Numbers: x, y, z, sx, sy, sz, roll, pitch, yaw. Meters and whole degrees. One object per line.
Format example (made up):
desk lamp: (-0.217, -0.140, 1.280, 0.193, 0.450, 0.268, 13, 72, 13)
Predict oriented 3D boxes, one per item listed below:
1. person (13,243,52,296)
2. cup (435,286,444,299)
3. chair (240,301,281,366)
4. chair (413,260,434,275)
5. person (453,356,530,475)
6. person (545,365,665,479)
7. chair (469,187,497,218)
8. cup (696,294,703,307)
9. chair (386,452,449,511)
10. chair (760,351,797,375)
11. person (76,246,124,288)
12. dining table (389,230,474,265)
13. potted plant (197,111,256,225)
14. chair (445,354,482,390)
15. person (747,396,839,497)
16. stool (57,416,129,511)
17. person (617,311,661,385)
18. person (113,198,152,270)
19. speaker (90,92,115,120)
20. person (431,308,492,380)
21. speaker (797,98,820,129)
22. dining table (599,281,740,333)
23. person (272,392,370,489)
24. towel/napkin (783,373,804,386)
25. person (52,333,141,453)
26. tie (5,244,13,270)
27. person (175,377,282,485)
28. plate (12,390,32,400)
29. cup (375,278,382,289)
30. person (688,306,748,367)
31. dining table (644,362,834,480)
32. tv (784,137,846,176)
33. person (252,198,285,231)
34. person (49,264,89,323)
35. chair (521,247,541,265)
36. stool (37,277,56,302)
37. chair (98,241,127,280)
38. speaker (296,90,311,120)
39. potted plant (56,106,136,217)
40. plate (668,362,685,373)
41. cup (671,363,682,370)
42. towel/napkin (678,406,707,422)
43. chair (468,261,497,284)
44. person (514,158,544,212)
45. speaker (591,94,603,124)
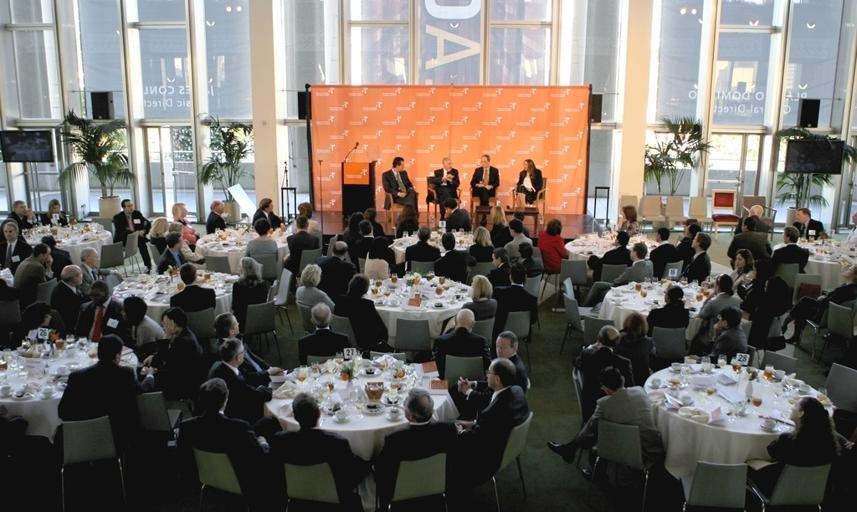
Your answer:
person: (-6.791, 0.285, 11.452, 0.615, 0.946, 0.423, -7, 11, -43)
cup: (0.176, 0.613, 11.284, 0.149, 0.231, 0.147, -1, 9, 0)
chair: (-2.795, 1.280, 11.007, 0.658, 1.198, 0.789, -5, 41, -20)
chair: (-0.107, 0.186, 12.868, 0.263, 0.373, 0.314, 3, 10, 2)
person: (0.796, 2.033, 8.340, 0.966, 1.454, 0.287, -3, 9, -25)
person: (2.465, 2.251, 8.856, 1.656, 1.415, 1.181, 1, 8, -12)
chair: (1.385, -1.414, 17.281, 0.730, 1.102, 0.767, 2, 3, 11)
cup: (4.521, 0.718, 11.109, 0.143, 0.227, 0.143, 0, 1, 0)
chair: (-0.129, 2.600, 8.247, 0.858, 0.804, 0.538, 0, 0, -13)
chair: (4.968, 1.494, 9.423, 0.287, 0.261, 0.370, -3, 6, -7)
person: (-6.109, 0.184, 12.369, 0.557, 0.959, 0.437, -10, 26, -34)
dining table: (0.253, -0.160, 12.870, 1.139, 0.814, 1.485, -4, 9, -28)
potted plant: (-5.885, -2.748, 19.504, 1.535, 2.788, 1.109, -1, 8, -7)
chair: (0.438, 1.627, 9.461, 0.424, 0.599, 0.470, 0, 3, -3)
person: (4.380, 2.300, 8.011, 0.896, 1.229, 0.405, 6, 10, 32)
stool: (-4.337, 2.610, 8.563, 0.820, 1.237, 0.432, -2, 9, -17)
person: (3.045, 1.429, 9.788, 0.555, 1.447, 0.773, 5, 29, 23)
person: (-6.662, -0.522, 15.310, 1.113, 1.532, 0.729, 5, 19, 29)
speaker: (-9.183, -4.261, 18.711, 0.563, 0.795, 0.323, -2, 9, -18)
person: (0.488, 1.355, 9.712, 0.855, 1.244, 0.566, -1, 23, -6)
speaker: (10.203, -3.873, 17.929, 0.474, 0.753, 0.382, 4, 9, 24)
dining table: (3.668, 0.725, 11.131, 1.153, 0.321, 1.135, -3, 10, -10)
person: (-1.330, 2.230, 8.169, 1.290, 1.216, 0.745, -2, 6, 19)
towel/napkin: (4.937, 1.692, 9.034, 0.230, 0.091, 0.226, -5, 9, -32)
person: (-4.255, 1.974, 8.867, 1.152, 1.752, 0.904, -5, 12, -28)
tie: (-7.977, -0.018, 12.663, 0.270, 0.443, 0.077, 6, 10, 33)
person: (-2.532, 2.314, 8.363, 1.105, 1.602, 0.976, -1, 5, 4)
plate: (-5.311, 1.812, 8.738, 0.242, 0.095, 0.101, 0, 8, -5)
cup: (-0.868, 0.472, 11.614, 0.107, 0.160, 0.105, -2, 2, 0)
person: (4.336, 1.150, 9.618, 0.476, 0.794, 0.600, 5, 9, 28)
dining table: (3.774, 2.045, 8.665, 1.761, 0.641, 1.660, -12, 22, -23)
tv: (10.084, -2.666, 17.487, 1.316, 0.901, 0.344, 4, 9, 21)
person: (-3.785, -1.006, 15.747, 0.683, 1.203, 0.531, -8, 46, -14)
person: (-5.916, 0.779, 11.051, 0.629, 1.261, 0.563, -6, 26, -41)
chair: (1.923, -0.048, 12.443, 0.346, 0.473, 0.414, -1, 6, 6)
stool: (-6.573, 0.602, 11.455, 0.352, 0.426, 0.338, 1, -2, 38)
chair: (-6.639, 0.016, 13.992, 0.564, 1.020, 0.699, -5, 40, -30)
speaker: (-3.503, -4.268, 18.794, 0.324, 0.887, 1.260, -2, 8, -14)
potted plant: (-9.657, -2.947, 19.244, 2.188, 2.506, 1.671, 4, 9, 22)
plate: (3.467, 1.555, 9.366, 0.134, 0.086, 0.139, 1, 13, 4)
cup: (3.478, 1.539, 9.315, 0.098, 0.059, 0.097, 0, -2, 0)
towel/napkin: (3.415, 2.033, 8.564, 0.209, 0.050, 0.211, 12, 18, 19)
chair: (0.989, 0.308, 12.840, 0.352, 0.613, 0.431, 1, 9, -3)
person: (2.605, -1.786, 17.730, 0.711, 1.665, 0.969, 5, 3, 42)
speaker: (4.587, -4.108, 18.374, 0.328, 0.716, 0.227, 1, 8, 1)
